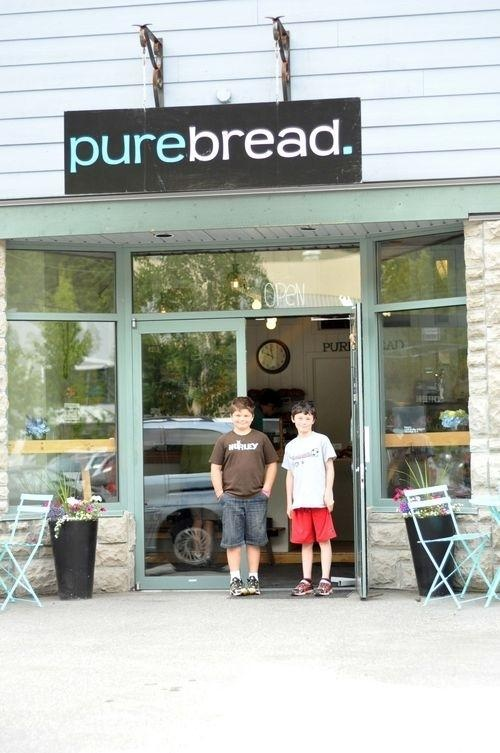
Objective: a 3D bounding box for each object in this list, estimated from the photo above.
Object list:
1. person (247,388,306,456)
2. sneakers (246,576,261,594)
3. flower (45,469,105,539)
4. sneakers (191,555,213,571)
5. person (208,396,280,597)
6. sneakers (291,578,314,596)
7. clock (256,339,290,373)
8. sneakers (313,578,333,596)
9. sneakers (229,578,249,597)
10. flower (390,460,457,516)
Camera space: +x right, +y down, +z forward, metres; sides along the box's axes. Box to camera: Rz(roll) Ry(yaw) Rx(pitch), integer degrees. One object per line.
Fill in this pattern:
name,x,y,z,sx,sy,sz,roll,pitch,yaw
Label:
person,0.283,0.614,10.090,0.588,1.008,1.072,-2,-6,12
sneakers,0.021,1.619,6.203,0.124,0.156,0.343,2,-15,-4
flower,-1.365,0.996,6.344,0.419,0.465,0.334,-1,-6,1
sneakers,-0.393,1.545,6.626,0.204,0.087,0.074,2,-4,6
person,-0.040,0.917,6.244,0.503,1.156,0.276,-3,-1,-3
sneakers,0.400,1.628,6.155,0.082,0.103,0.226,-4,-8,30
clock,0.295,-0.296,10.953,0.452,0.451,0.436,2,5,-2
sneakers,0.553,1.596,6.066,0.132,0.105,0.156,-3,-1,2
sneakers,-0.092,1.607,6.143,0.135,0.114,0.144,-3,-1,-4
flower,1.309,0.864,6.033,0.430,0.294,0.311,2,-1,-12
